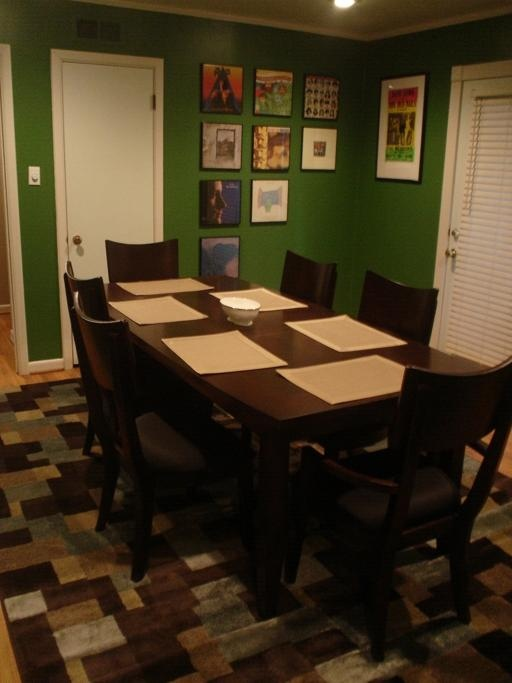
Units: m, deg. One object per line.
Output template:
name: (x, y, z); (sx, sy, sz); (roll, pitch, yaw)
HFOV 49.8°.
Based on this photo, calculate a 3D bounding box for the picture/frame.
picture/frame: (1.125, -1.635, 4.274); (0.071, 0.782, 0.529); (-3, 13, -23)
